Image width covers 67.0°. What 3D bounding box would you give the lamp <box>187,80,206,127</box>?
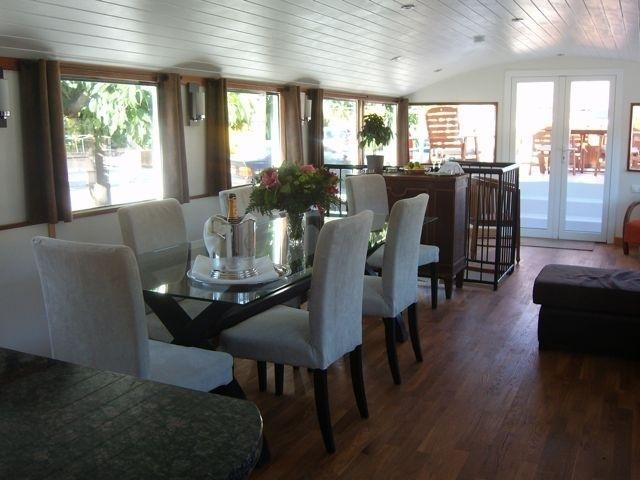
[{"bbox_3d":[-1.303,-1.441,5.166,0.179,0.425,0.261,1,12,6],"label":"lamp"}]

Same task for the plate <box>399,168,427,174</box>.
[{"bbox_3d":[1.003,-0.737,5.205,0.277,0.063,0.175,8,15,35],"label":"plate"}]

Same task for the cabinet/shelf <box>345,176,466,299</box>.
[{"bbox_3d":[0.704,-0.047,3.888,0.951,0.955,0.535,8,19,29],"label":"cabinet/shelf"}]

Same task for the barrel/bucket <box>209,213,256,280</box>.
[{"bbox_3d":[-0.444,0.035,2.428,0.243,0.296,0.190,-3,12,-12],"label":"barrel/bucket"}]

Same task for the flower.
[{"bbox_3d":[-0.166,-0.324,3.186,0.481,0.474,0.524,4,12,22],"label":"flower"}]

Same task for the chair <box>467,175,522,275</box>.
[{"bbox_3d":[2.101,-0.241,5.781,0.616,1.269,1.748,3,12,19],"label":"chair"}]

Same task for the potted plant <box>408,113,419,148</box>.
[{"bbox_3d":[1.703,-1.993,8.900,0.206,0.651,0.133,-2,11,-5],"label":"potted plant"}]
